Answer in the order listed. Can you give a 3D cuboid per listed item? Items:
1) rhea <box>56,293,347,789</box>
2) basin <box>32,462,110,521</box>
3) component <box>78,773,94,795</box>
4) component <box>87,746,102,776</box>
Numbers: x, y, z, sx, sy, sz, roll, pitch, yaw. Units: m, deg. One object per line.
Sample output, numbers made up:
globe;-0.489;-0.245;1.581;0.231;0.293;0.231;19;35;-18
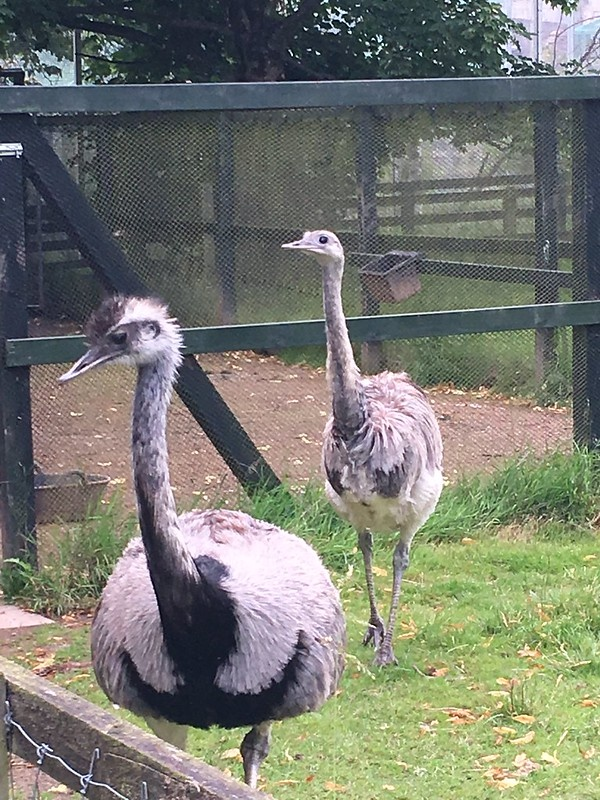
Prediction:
rhea;-0.354;0.463;4.473;0.862;1.653;0.601;-17;19;-40
basin;-1.193;0.470;7.042;0.274;0.194;0.363;1;-9;-8
component;-0.531;0.952;3.379;0.030;0.060;0.048;-7;15;-10
component;-0.507;0.888;3.357;0.023;0.091;0.024;9;18;-11
